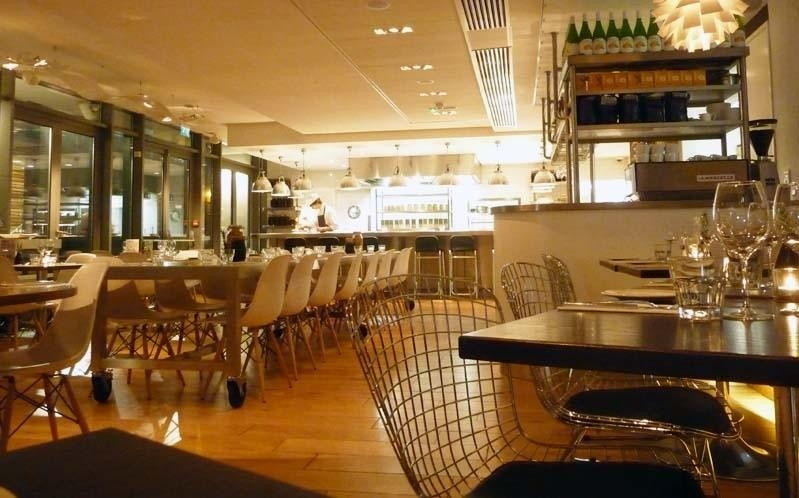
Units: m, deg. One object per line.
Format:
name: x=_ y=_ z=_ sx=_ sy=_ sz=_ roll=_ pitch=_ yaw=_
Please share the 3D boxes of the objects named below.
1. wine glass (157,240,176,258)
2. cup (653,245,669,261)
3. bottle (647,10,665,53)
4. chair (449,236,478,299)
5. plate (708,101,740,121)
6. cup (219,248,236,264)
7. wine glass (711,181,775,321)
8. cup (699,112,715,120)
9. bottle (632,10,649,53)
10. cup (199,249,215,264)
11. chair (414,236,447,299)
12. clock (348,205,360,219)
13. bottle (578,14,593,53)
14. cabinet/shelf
wine glass: x=-2.252 y=0.002 z=5.841 sx=0.162 sy=0.255 sz=0.172 roll=0 pitch=-2 yaw=-15
cup: x=1.843 y=0.025 z=4.247 sx=0.110 sy=0.119 sz=0.108 roll=0 pitch=-4 yaw=0
bottle: x=2.394 y=-2.061 z=5.692 sx=0.119 sy=0.112 sz=0.480 roll=1 pitch=-33 yaw=26
chair: x=1.050 y=0.248 z=9.902 sx=0.621 sy=0.947 sz=0.602 roll=-6 pitch=9 yaw=-20
plate: x=3.020 y=-1.280 z=5.631 sx=0.263 sy=0.182 sz=0.204 roll=3 pitch=9 yaw=26
cup: x=-1.500 y=0.059 z=5.225 sx=0.116 sy=0.121 sz=0.115 roll=1 pitch=5 yaw=0
wine glass: x=1.551 y=0.007 z=2.720 sx=0.236 sy=0.602 sz=0.235 roll=-1 pitch=-2 yaw=-35
cup: x=2.899 y=-1.248 z=5.706 sx=0.109 sy=0.048 sz=0.073 roll=3 pitch=0 yaw=29
bottle: x=2.345 y=-2.092 z=5.870 sx=0.129 sy=0.404 sz=0.417 roll=2 pitch=8 yaw=20
cup: x=-1.621 y=0.068 z=5.110 sx=0.120 sy=0.099 sz=0.132 roll=3 pitch=-10 yaw=-39
chair: x=0.479 y=0.258 z=10.080 sx=0.569 sy=0.947 sz=0.597 roll=1 pitch=6 yaw=22
clock: x=-1.044 y=-0.860 z=13.946 sx=0.313 sy=0.303 sz=0.068 roll=2 pitch=9 yaw=23
bottle: x=1.815 y=-2.065 z=5.883 sx=0.110 sy=0.365 sz=0.270 roll=1 pitch=8 yaw=16
cabinet/shelf: x=2.743 y=-1.294 z=6.064 sx=1.262 sy=1.136 sz=0.986 roll=0 pitch=14 yaw=10
